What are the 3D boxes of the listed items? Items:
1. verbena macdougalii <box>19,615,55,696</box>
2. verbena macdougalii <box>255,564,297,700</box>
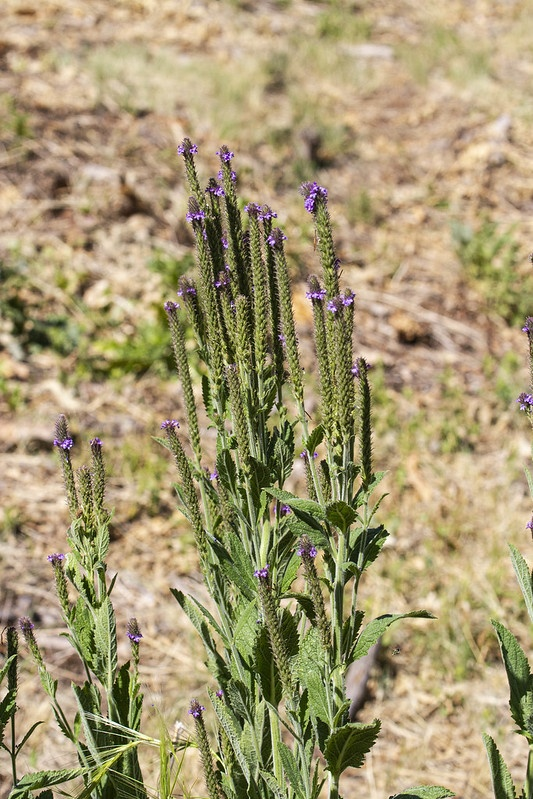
[{"bbox_3d":[-1.039,1.118,6.534,0.089,0.083,0.416,-8,47,-28],"label":"verbena macdougalii"},{"bbox_3d":[0.043,0.975,6.108,0.126,0.556,0.113,-14,2,1],"label":"verbena macdougalii"}]
